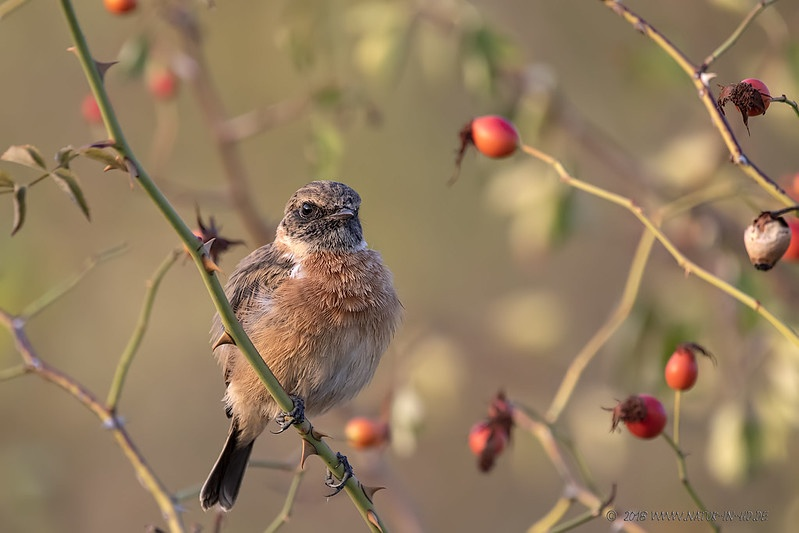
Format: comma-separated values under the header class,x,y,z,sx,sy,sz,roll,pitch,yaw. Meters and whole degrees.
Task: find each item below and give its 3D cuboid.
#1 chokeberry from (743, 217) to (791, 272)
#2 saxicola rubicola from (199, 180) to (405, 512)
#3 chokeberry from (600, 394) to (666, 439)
class,x,y,z,sx,sy,sz,roll,pitch,yaw
chokeberry,1.807,-0.115,4.372,0.163,0.308,0.213,12,-19,-33
saxicola rubicola,-0.608,0.362,6.248,1.027,2.715,1.380,1,2,10
chokeberry,1.239,0.784,4.663,0.138,0.198,0.335,-35,-32,23
